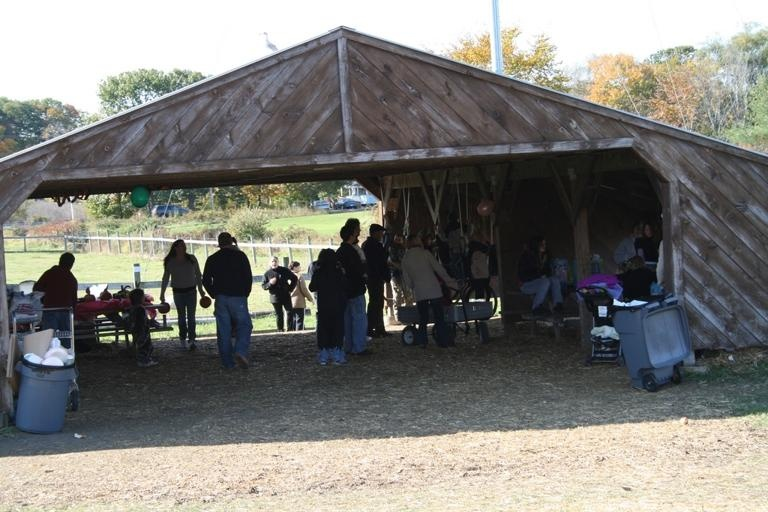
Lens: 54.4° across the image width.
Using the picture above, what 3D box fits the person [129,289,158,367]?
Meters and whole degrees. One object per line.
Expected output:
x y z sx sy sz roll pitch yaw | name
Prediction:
-4.402 1.289 13.613 0.381 1.425 0.528 -4 6 -18 | person

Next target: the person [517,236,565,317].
3.071 0.335 14.756 0.811 1.458 0.960 -1 6 8 | person

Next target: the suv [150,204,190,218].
-16.304 -3.446 56.576 3.374 1.217 1.624 -5 5 -1 | suv

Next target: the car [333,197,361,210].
-2.614 -3.844 54.861 1.955 0.710 2.851 -2 6 1 | car

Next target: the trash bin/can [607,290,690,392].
3.947 1.270 10.953 1.135 1.279 0.468 -6 7 -33 | trash bin/can

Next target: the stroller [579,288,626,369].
3.496 1.113 11.988 0.818 1.558 1.147 -2 -3 10 | stroller

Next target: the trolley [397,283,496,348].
1.240 1.319 14.508 1.597 0.764 1.079 -9 -7 38 | trolley

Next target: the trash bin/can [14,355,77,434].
-4.411 1.829 10.014 0.734 0.996 0.643 2 -7 5 | trash bin/can
